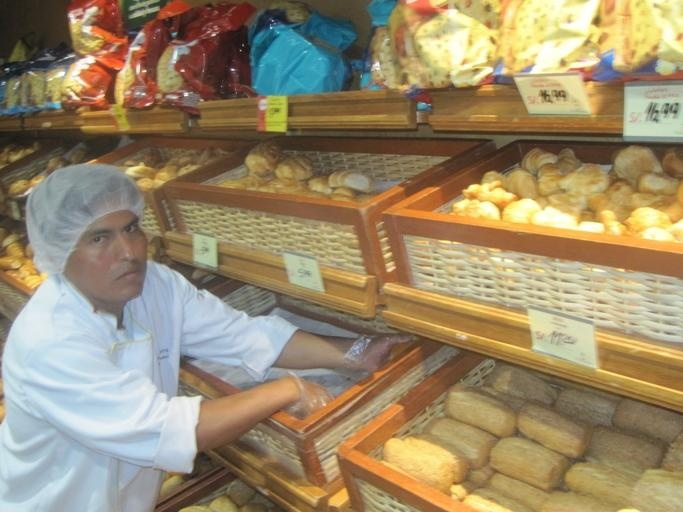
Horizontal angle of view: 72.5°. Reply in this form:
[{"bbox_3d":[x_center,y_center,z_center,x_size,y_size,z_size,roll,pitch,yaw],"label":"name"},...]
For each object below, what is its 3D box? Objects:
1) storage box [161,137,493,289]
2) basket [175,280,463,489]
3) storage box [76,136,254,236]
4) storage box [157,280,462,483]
[{"bbox_3d":[-0.020,-0.077,1.748,1.002,0.222,0.741,12,12,41],"label":"storage box"},{"bbox_3d":[-0.269,0.427,1.622,0.807,0.188,0.605,11,22,44],"label":"basket"},{"bbox_3d":[-0.927,-0.337,2.502,0.783,0.236,0.921,6,22,27],"label":"storage box"},{"bbox_3d":[-0.278,0.428,1.616,0.790,0.183,0.596,10,19,43],"label":"storage box"}]
